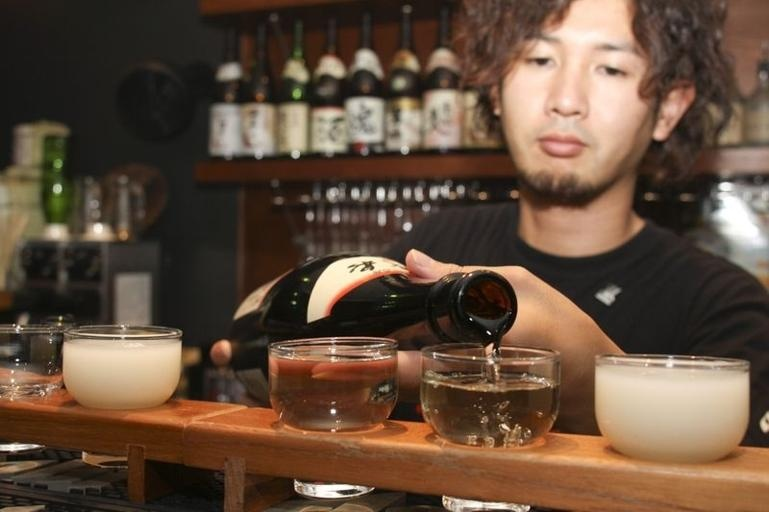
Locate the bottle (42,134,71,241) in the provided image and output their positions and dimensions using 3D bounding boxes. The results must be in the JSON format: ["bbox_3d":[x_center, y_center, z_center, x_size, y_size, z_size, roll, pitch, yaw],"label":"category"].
[{"bbox_3d":[-1.432,-0.311,3.206,0.144,0.437,0.467,-9,13,-24],"label":"bottle"}]

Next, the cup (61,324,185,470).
[{"bbox_3d":[-0.437,0.228,1.246,0.172,0.161,0.163,1,0,0],"label":"cup"}]

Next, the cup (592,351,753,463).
[{"bbox_3d":[0.418,0.223,1.062,0.176,0.114,0.187,1,-2,0],"label":"cup"}]
